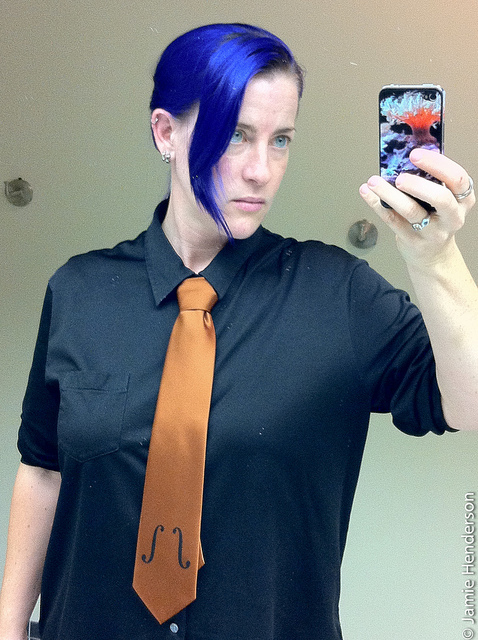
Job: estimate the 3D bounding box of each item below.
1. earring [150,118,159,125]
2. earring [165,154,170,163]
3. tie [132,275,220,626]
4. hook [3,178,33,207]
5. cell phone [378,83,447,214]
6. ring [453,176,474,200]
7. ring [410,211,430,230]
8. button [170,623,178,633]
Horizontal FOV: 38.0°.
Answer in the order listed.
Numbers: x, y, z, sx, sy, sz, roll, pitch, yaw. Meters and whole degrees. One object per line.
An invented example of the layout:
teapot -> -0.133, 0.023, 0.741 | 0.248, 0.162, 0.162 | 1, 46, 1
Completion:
earring -> -0.112, -0.260, 0.911 | 0.003, 0.005, 0.018 | 4, 3, -37
earring -> -0.096, -0.217, 0.934 | 0.004, 0.011, 0.004 | 11, 40, 3
tie -> -0.073, 0.145, 0.850 | 0.075, 0.274, 0.174 | 6, 3, -6
hook -> -0.572, -0.330, 1.796 | 0.063, 0.069, 0.025 | 3, 21, 8
cell phone -> 0.185, -0.199, 0.740 | 0.078, 0.109, 0.051 | 7, 3, 19
ring -> 0.218, -0.130, 0.672 | 0.020, 0.020, 0.005 | -19, 58, -24
ring -> 0.178, -0.099, 0.689 | 0.014, 0.007, 0.014 | -32, 27, 18
button -> -0.076, 0.359, 0.811 | 0.010, 0.009, 0.002 | -11, -9, 2
